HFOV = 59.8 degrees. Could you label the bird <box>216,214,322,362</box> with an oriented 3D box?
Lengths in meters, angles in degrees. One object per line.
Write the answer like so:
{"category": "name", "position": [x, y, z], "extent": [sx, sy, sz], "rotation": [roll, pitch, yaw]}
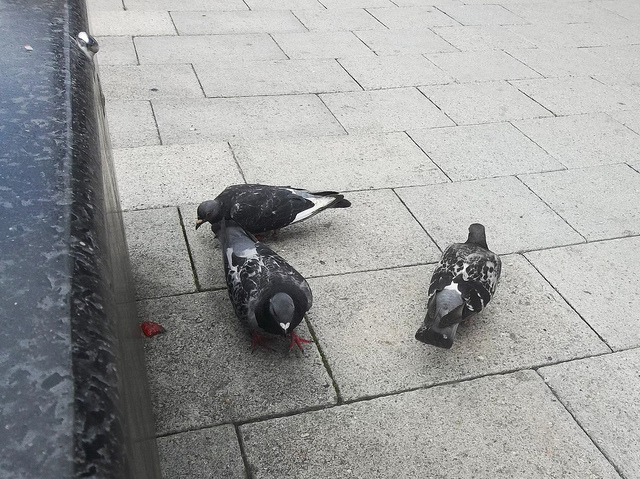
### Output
{"category": "bird", "position": [-0.394, 0.138, 3.318], "extent": [0.462, 0.633, 1.024], "rotation": [-18, 77, -18]}

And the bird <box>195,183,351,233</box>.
{"category": "bird", "position": [-0.344, -0.286, 4.394], "extent": [1.006, 0.384, 1.163], "rotation": [-1, 24, -5]}

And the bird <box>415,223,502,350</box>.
{"category": "bird", "position": [0.832, 0.282, 3.298], "extent": [0.568, 0.624, 0.731], "rotation": [10, 31, 12]}
